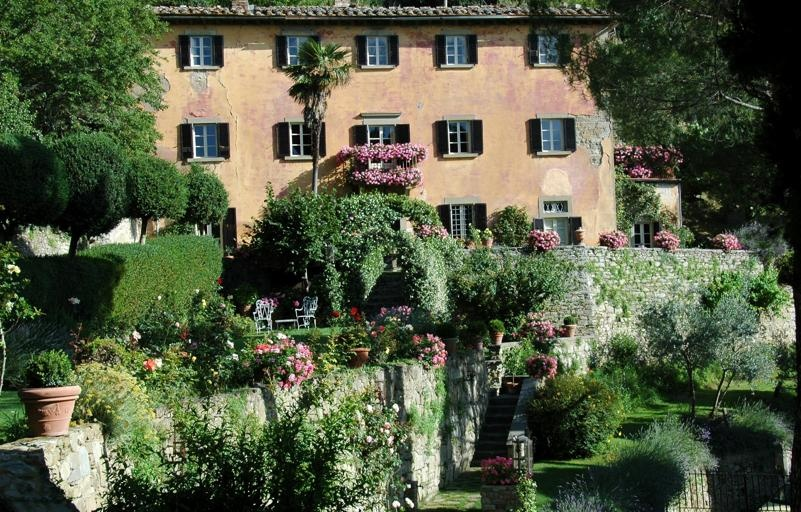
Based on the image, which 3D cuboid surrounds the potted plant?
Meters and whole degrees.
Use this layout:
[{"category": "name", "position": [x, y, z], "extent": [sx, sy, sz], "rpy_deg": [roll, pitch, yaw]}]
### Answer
[{"category": "potted plant", "position": [-7.662, 2.937, 26.161], "extent": [1.314, 1.901, 1.307], "rpy_deg": [-4, -7, -16]}]
